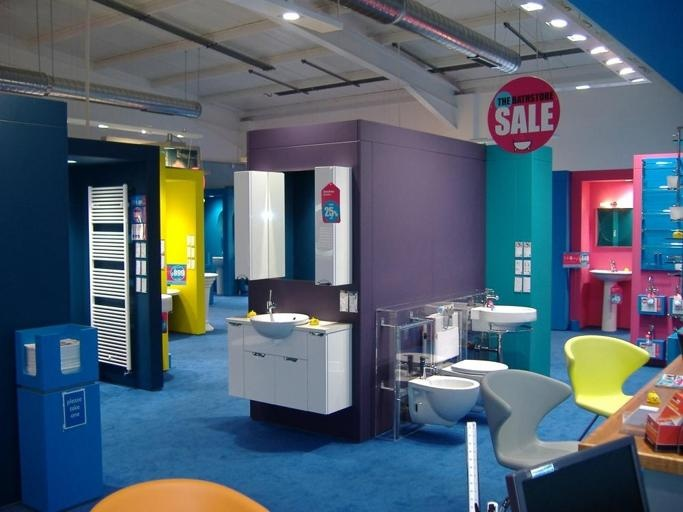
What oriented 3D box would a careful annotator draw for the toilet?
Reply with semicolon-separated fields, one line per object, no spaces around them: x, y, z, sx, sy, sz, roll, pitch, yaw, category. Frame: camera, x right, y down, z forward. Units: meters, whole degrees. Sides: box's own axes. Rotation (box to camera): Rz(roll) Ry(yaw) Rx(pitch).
1.448;1.151;6.142;0.914;1.174;0.727;0;-5;30;toilet

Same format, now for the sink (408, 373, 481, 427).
1.049;1.459;5.643;0.588;0.425;0.518;-1;2;30;sink

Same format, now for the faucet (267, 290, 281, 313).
-0.757;0.516;6.056;0.128;0.268;0.357;-1;4;-8;faucet

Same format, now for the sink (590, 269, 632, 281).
5.247;0.389;10.705;0.728;0.254;0.562;2;5;30;sink

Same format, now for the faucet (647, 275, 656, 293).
4.974;0.463;8.780;0.117;0.268;0.104;2;5;30;faucet

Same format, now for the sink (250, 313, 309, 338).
-0.645;0.728;5.719;0.605;0.215;0.558;0;4;1;sink

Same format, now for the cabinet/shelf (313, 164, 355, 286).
-0.086;-0.306;5.516;0.347;1.167;0.212;-1;4;-10;cabinet/shelf

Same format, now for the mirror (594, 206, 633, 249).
5.447;-0.566;10.948;0.625;0.781;0.077;2;5;33;mirror

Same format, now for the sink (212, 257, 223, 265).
-3.856;0.153;17.044;0.285;0.184;0.266;-1;1;-20;sink
